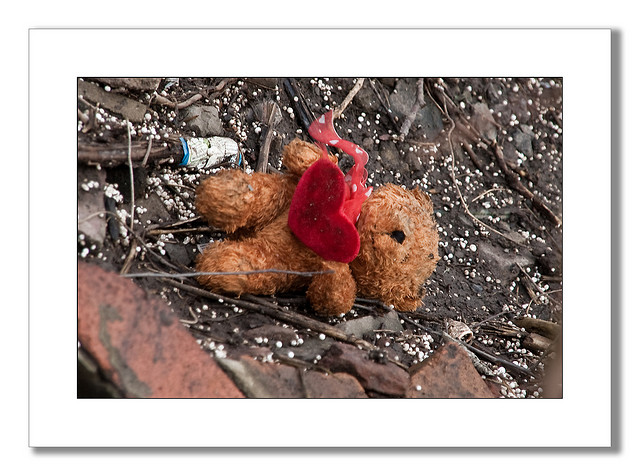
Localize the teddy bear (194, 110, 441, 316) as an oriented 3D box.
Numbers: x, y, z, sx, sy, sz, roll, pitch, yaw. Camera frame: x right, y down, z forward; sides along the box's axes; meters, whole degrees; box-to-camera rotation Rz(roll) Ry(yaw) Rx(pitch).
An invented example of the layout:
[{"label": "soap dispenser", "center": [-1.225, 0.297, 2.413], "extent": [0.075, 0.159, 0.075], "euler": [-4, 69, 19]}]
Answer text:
[{"label": "teddy bear", "center": [0.004, -0.055, 2.112], "extent": [0.730, 0.636, 0.285], "euler": [7, -23, -8]}]
